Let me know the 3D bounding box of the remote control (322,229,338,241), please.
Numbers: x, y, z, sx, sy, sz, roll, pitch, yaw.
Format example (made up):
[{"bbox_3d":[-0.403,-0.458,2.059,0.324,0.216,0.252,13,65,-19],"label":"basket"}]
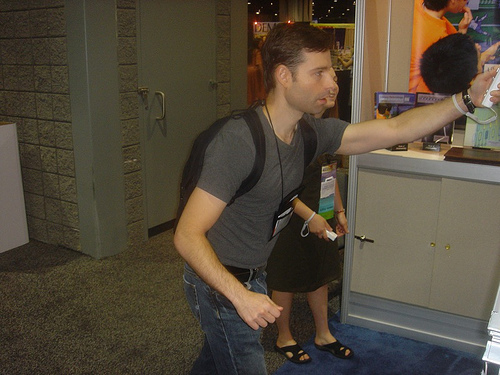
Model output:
[{"bbox_3d":[0.435,0.266,1.913,0.073,0.065,0.098,4,20,12],"label":"remote control"}]

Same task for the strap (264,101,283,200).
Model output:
[{"bbox_3d":[0.088,-0.151,1.254,0.061,0.317,0.012,-11,-8,38],"label":"strap"}]

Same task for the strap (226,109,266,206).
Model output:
[{"bbox_3d":[-0.012,-0.095,1.231,0.127,0.317,0.173,-2,18,-5],"label":"strap"}]

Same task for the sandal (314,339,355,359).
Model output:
[{"bbox_3d":[0.573,1.050,2.262,0.197,0.067,0.088,7,14,36],"label":"sandal"}]

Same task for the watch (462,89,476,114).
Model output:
[{"bbox_3d":[0.792,-0.311,1.271,0.023,0.067,0.052,-12,46,19],"label":"watch"}]

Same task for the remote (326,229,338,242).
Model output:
[{"bbox_3d":[0.446,0.263,1.890,0.047,0.051,0.015,29,75,39],"label":"remote"}]

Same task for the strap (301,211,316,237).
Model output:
[{"bbox_3d":[0.328,0.216,2.037,0.028,0.160,0.091,15,21,14],"label":"strap"}]

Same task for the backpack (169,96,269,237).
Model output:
[{"bbox_3d":[-0.088,-0.083,1.216,0.423,0.359,0.293,-9,20,-25],"label":"backpack"}]
